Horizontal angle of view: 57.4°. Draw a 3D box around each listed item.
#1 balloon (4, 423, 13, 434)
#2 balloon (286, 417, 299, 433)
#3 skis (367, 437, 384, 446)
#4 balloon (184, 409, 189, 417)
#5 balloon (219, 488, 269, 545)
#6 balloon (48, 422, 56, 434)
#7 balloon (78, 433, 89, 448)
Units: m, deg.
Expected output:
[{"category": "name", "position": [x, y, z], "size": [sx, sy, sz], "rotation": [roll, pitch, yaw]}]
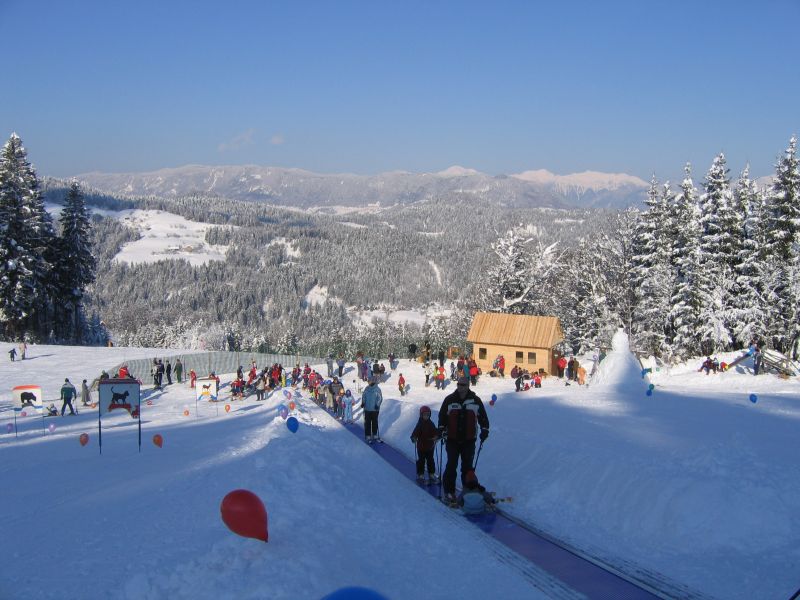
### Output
[{"category": "balloon", "position": [-14.780, 4.854, 27.594], "size": [0.201, 0.399, 0.351], "rotation": [8, -5, 17]}, {"category": "balloon", "position": [-3.897, 4.505, 26.523], "size": [0.405, 0.564, 0.431], "rotation": [0, 13, 44]}, {"category": "skis", "position": [-0.888, 5.044, 26.060], "size": [0.250, 0.144, 0.428], "rotation": [4, 3, 28]}, {"category": "balloon", "position": [-9.646, 5.120, 33.122], "size": [0.178, 0.307, 0.330], "rotation": [3, -15, -34]}, {"category": "balloon", "position": [-3.775, 4.954, 17.341], "size": [1.227, 1.122, 1.321], "rotation": [2, 4, -17]}, {"category": "balloon", "position": [-13.370, 4.909, 28.037], "size": [0.254, 0.216, 0.326], "rotation": [-9, -7, 35]}, {"category": "balloon", "position": [-10.472, 4.606, 24.185], "size": [0.291, 0.553, 0.983], "rotation": [-1, 7, -25]}]
